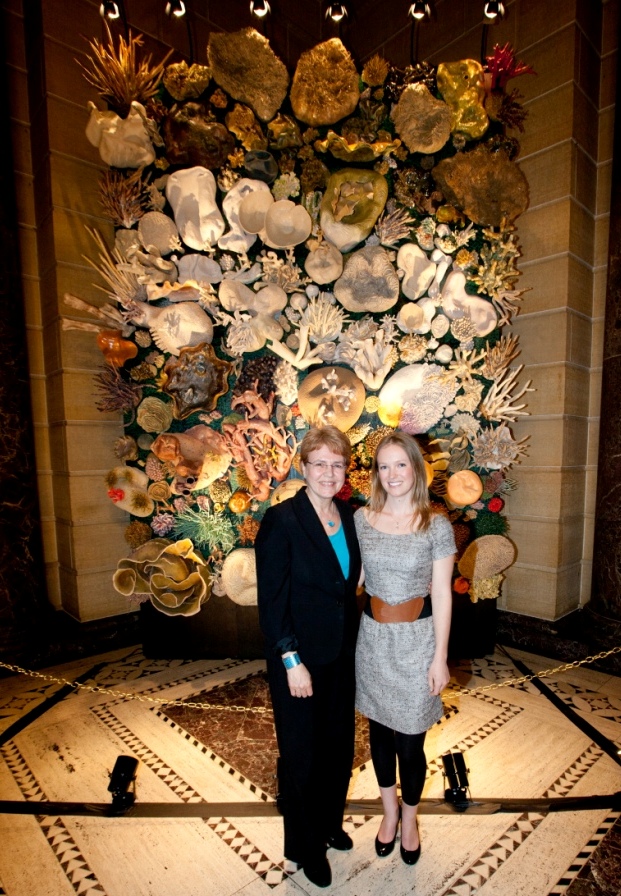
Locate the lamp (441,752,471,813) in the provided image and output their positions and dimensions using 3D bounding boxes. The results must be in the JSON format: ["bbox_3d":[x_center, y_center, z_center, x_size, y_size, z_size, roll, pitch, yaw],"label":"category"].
[{"bbox_3d":[0.679,1.522,3.081,0.178,0.119,0.173,14,40,13],"label":"lamp"}]

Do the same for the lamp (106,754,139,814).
[{"bbox_3d":[-0.856,1.541,3.134,0.126,0.249,0.101,-9,8,-37],"label":"lamp"}]

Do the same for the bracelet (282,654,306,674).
[{"bbox_3d":[-0.066,0.808,2.516,0.070,0.059,0.073,-4,9,17],"label":"bracelet"}]

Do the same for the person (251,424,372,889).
[{"bbox_3d":[0.017,0.834,2.683,0.477,1.836,0.237,-5,6,-42],"label":"person"}]
